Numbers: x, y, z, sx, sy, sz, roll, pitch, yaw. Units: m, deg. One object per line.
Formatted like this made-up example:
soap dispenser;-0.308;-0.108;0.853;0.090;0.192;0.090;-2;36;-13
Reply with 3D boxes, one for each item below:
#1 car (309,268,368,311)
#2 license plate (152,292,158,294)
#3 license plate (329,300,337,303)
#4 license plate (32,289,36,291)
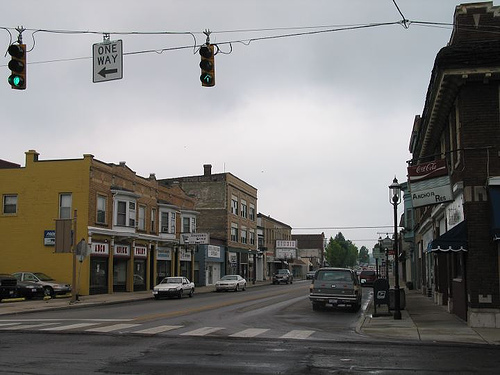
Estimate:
car;4.315;5.098;36.241;2.458;2.099;2.412;-2;-13;4
license plate;-6.079;6.864;46.685;0.240;0.096;0.466;5;-16;-21
license plate;4.044;5.500;34.982;0.237;0.146;0.061;-2;-2;7
license plate;-12.788;6.086;42.903;0.023;0.105;0.251;-8;-16;33
